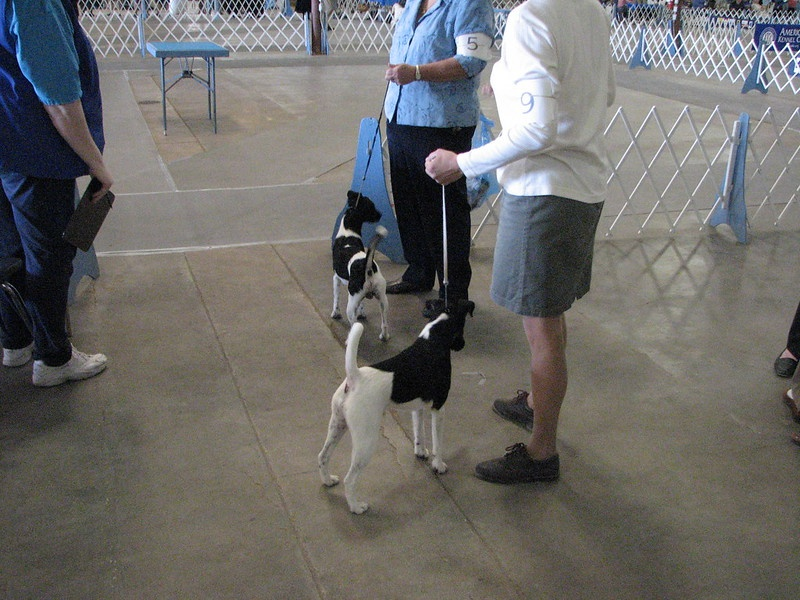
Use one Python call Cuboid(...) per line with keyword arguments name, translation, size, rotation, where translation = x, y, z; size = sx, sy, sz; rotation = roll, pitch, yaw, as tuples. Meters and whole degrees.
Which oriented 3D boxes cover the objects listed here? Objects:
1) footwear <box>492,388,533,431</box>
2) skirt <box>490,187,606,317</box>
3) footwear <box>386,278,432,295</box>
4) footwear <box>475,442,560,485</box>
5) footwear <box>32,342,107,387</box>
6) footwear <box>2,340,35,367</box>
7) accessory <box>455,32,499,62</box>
Cuboid(name="footwear", translation=(0.615, 0.583, 3.642), size=(0.109, 0.169, 0.263), rotation=(-15, 41, -41))
Cuboid(name="skirt", translation=(0.721, -0.281, 3.098), size=(0.355, 0.593, 0.556), rotation=(21, 24, 34))
Cuboid(name="footwear", translation=(0.049, -0.087, 4.914), size=(0.345, 0.172, 0.128), rotation=(0, 15, -9))
Cuboid(name="footwear", translation=(0.576, 0.800, 3.247), size=(0.392, 0.207, 0.166), rotation=(-2, 7, 4))
Cuboid(name="footwear", translation=(-1.860, 0.376, 3.820), size=(0.434, 0.240, 0.179), rotation=(-13, 25, -26))
Cuboid(name="footwear", translation=(-2.254, 0.332, 3.958), size=(0.089, 0.126, 0.185), rotation=(19, 30, 35))
Cuboid(name="accessory", translation=(0.437, -1.508, 3.890), size=(0.149, 0.127, 0.153), rotation=(-19, 34, -32))
